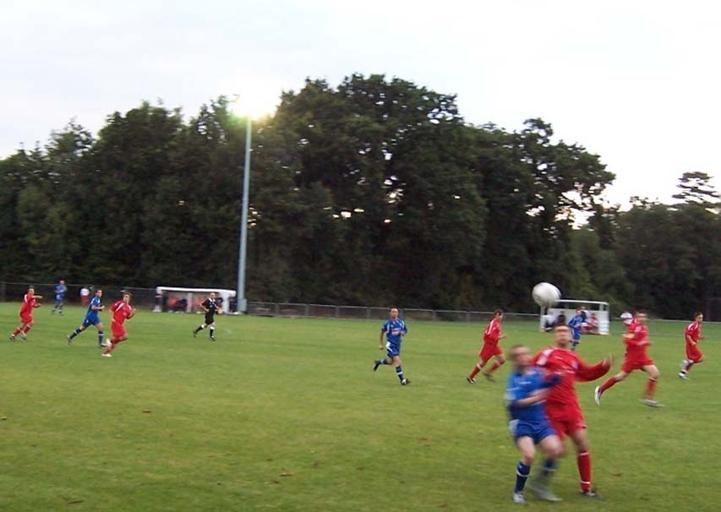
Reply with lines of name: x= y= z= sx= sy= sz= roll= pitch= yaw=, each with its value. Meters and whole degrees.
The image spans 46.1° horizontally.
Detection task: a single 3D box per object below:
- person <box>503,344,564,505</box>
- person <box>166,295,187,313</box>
person: x=3.037 y=2.935 z=14.633 sx=0.861 sy=2.733 sz=0.945 roll=-1 pitch=7 yaw=-37
person: x=-11.511 y=3.047 z=53.306 sx=1.569 sy=0.897 sz=0.459 roll=5 pitch=5 yaw=30
